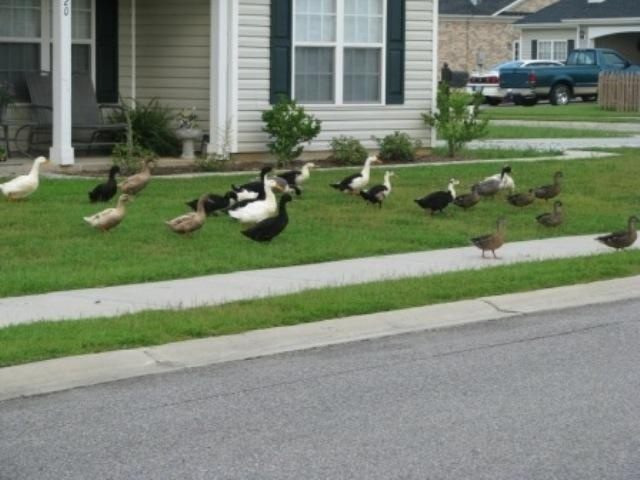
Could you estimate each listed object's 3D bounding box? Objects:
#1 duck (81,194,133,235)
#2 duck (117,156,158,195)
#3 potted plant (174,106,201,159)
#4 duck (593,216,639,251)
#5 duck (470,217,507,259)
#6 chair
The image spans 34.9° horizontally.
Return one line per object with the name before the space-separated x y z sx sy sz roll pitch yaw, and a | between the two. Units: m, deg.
duck | -3.208 -0.398 15.180 0.597 0.623 0.667 -4 13 -21
duck | -3.284 -1.123 18.050 0.525 0.743 0.671 -2 13 -12
potted plant | -2.984 -2.427 23.169 0.582 1.080 1.099 -1 13 -8
duck | 4.335 -0.095 14.854 0.772 0.631 0.420 -3 6 4
duck | 2.443 -0.019 14.577 0.635 0.660 0.409 -2 3 9
chair | -5.799 -2.619 22.723 1.945 1.327 1.594 0 -5 10
